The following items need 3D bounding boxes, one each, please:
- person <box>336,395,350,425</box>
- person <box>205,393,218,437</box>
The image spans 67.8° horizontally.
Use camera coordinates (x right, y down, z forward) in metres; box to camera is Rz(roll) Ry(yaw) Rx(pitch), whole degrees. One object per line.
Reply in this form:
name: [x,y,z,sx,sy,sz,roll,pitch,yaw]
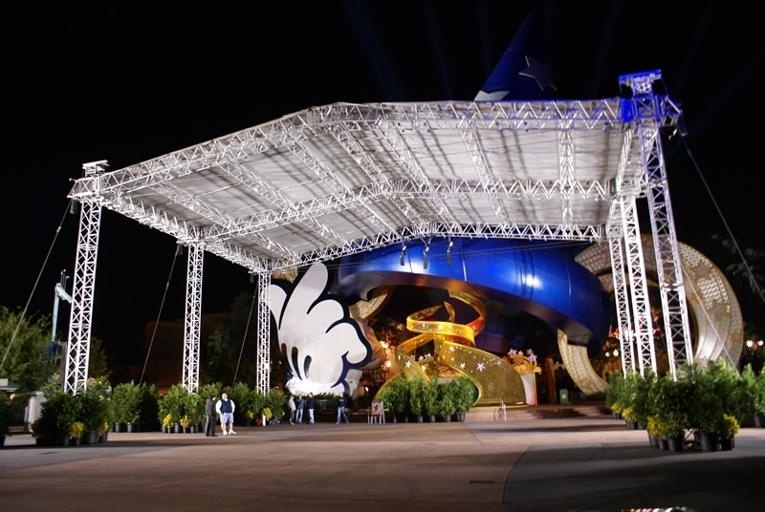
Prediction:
person: [-2.331,8.909,33.017,0.638,1.583,2.004,-1,-18,-3]
person: [-6.879,6.454,22.838,0.349,1.601,1.238,3,-19,-15]
